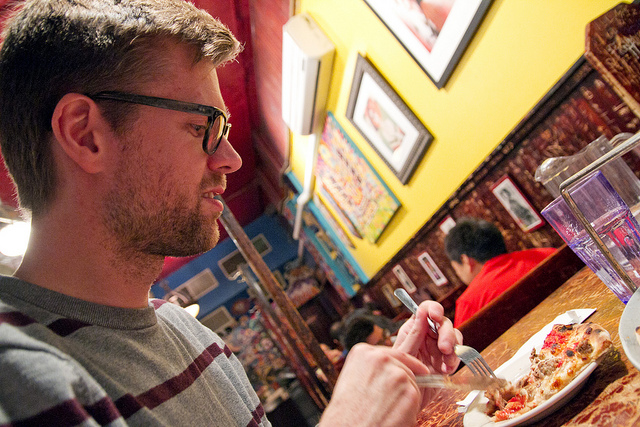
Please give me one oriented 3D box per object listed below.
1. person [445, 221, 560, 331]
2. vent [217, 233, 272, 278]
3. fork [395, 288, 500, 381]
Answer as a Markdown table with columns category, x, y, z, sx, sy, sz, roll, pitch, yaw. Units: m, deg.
| category | x | y | z | sx | sy | sz | roll | pitch | yaw |
| --- | --- | --- | --- | --- | --- | --- | --- | --- | --- |
| person | 1.038 | 0.319 | 2.501 | 0.425 | 0.334 | 0.982 | -17 | -49 | 0 |
| vent | -1.466 | 0.880 | 9.158 | 1.240 | 0.066 | 0.701 | -31 | -37 | -12 |
| fork | 0.436 | 0.406 | 1.523 | 0.061 | 0.440 | 0.048 | -52 | 1 | 21 |
